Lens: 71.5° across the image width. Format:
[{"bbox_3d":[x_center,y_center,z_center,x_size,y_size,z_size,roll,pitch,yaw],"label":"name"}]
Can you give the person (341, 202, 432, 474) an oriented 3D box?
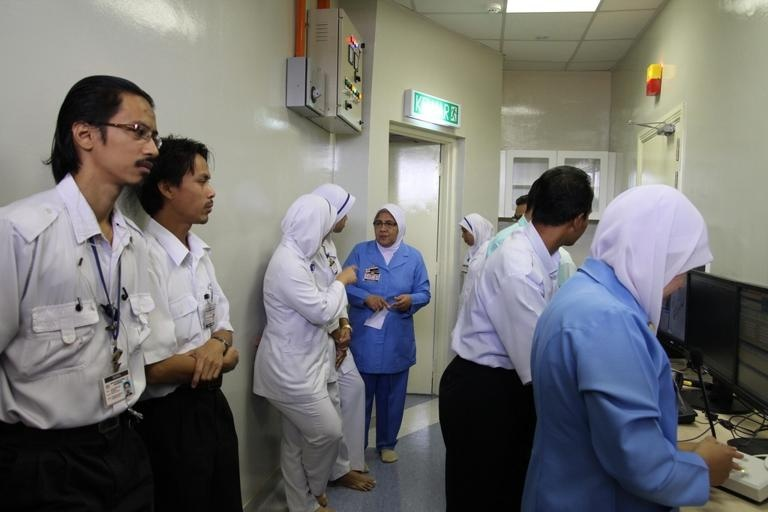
[{"bbox_3d":[0.027,0.594,3.978,0.647,1.853,0.627,1,7,-16],"label":"person"}]
